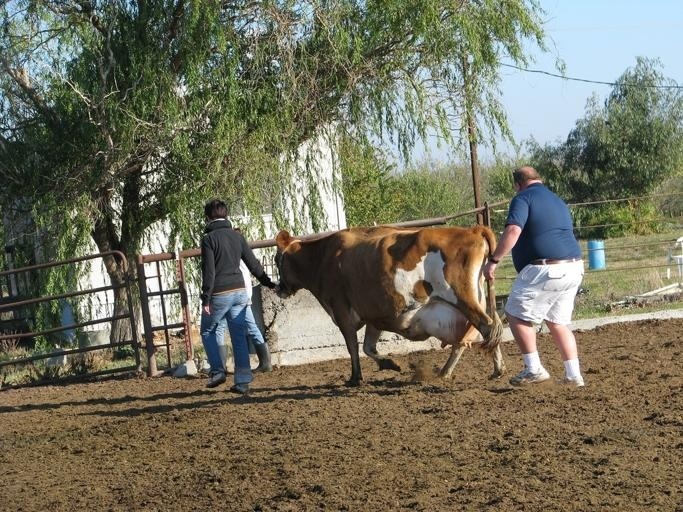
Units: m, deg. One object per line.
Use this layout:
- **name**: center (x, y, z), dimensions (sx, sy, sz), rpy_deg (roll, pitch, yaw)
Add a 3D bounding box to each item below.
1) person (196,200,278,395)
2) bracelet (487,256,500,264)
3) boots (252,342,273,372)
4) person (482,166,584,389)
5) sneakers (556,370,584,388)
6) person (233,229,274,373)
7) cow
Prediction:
- **person**: center (-1.415, 0.492, 10.103), dimensions (0.809, 2.478, 0.530), rpy_deg (-5, 7, -20)
- **bracelet**: center (1.725, 0.004, 8.981), dimensions (0.134, 0.110, 0.290), rpy_deg (-2, 8, 11)
- **boots**: center (-1.092, 1.378, 11.082), dimensions (0.314, 0.549, 0.247), rpy_deg (1, 4, 9)
- **person**: center (2.268, 0.233, 9.092), dimensions (1.085, 2.513, 0.534), rpy_deg (-3, 6, -4)
- **sneakers**: center (2.648, 1.391, 9.115), dimensions (0.262, 0.149, 0.125), rpy_deg (4, 13, 33)
- **person**: center (-1.220, 0.633, 10.811), dimensions (0.378, 1.837, 0.849), rpy_deg (-9, -16, -24)
- **cow**: center (0.592, 0.614, 9.731), dimensions (2.772, 1.964, 0.601), rpy_deg (1, 7, 29)
